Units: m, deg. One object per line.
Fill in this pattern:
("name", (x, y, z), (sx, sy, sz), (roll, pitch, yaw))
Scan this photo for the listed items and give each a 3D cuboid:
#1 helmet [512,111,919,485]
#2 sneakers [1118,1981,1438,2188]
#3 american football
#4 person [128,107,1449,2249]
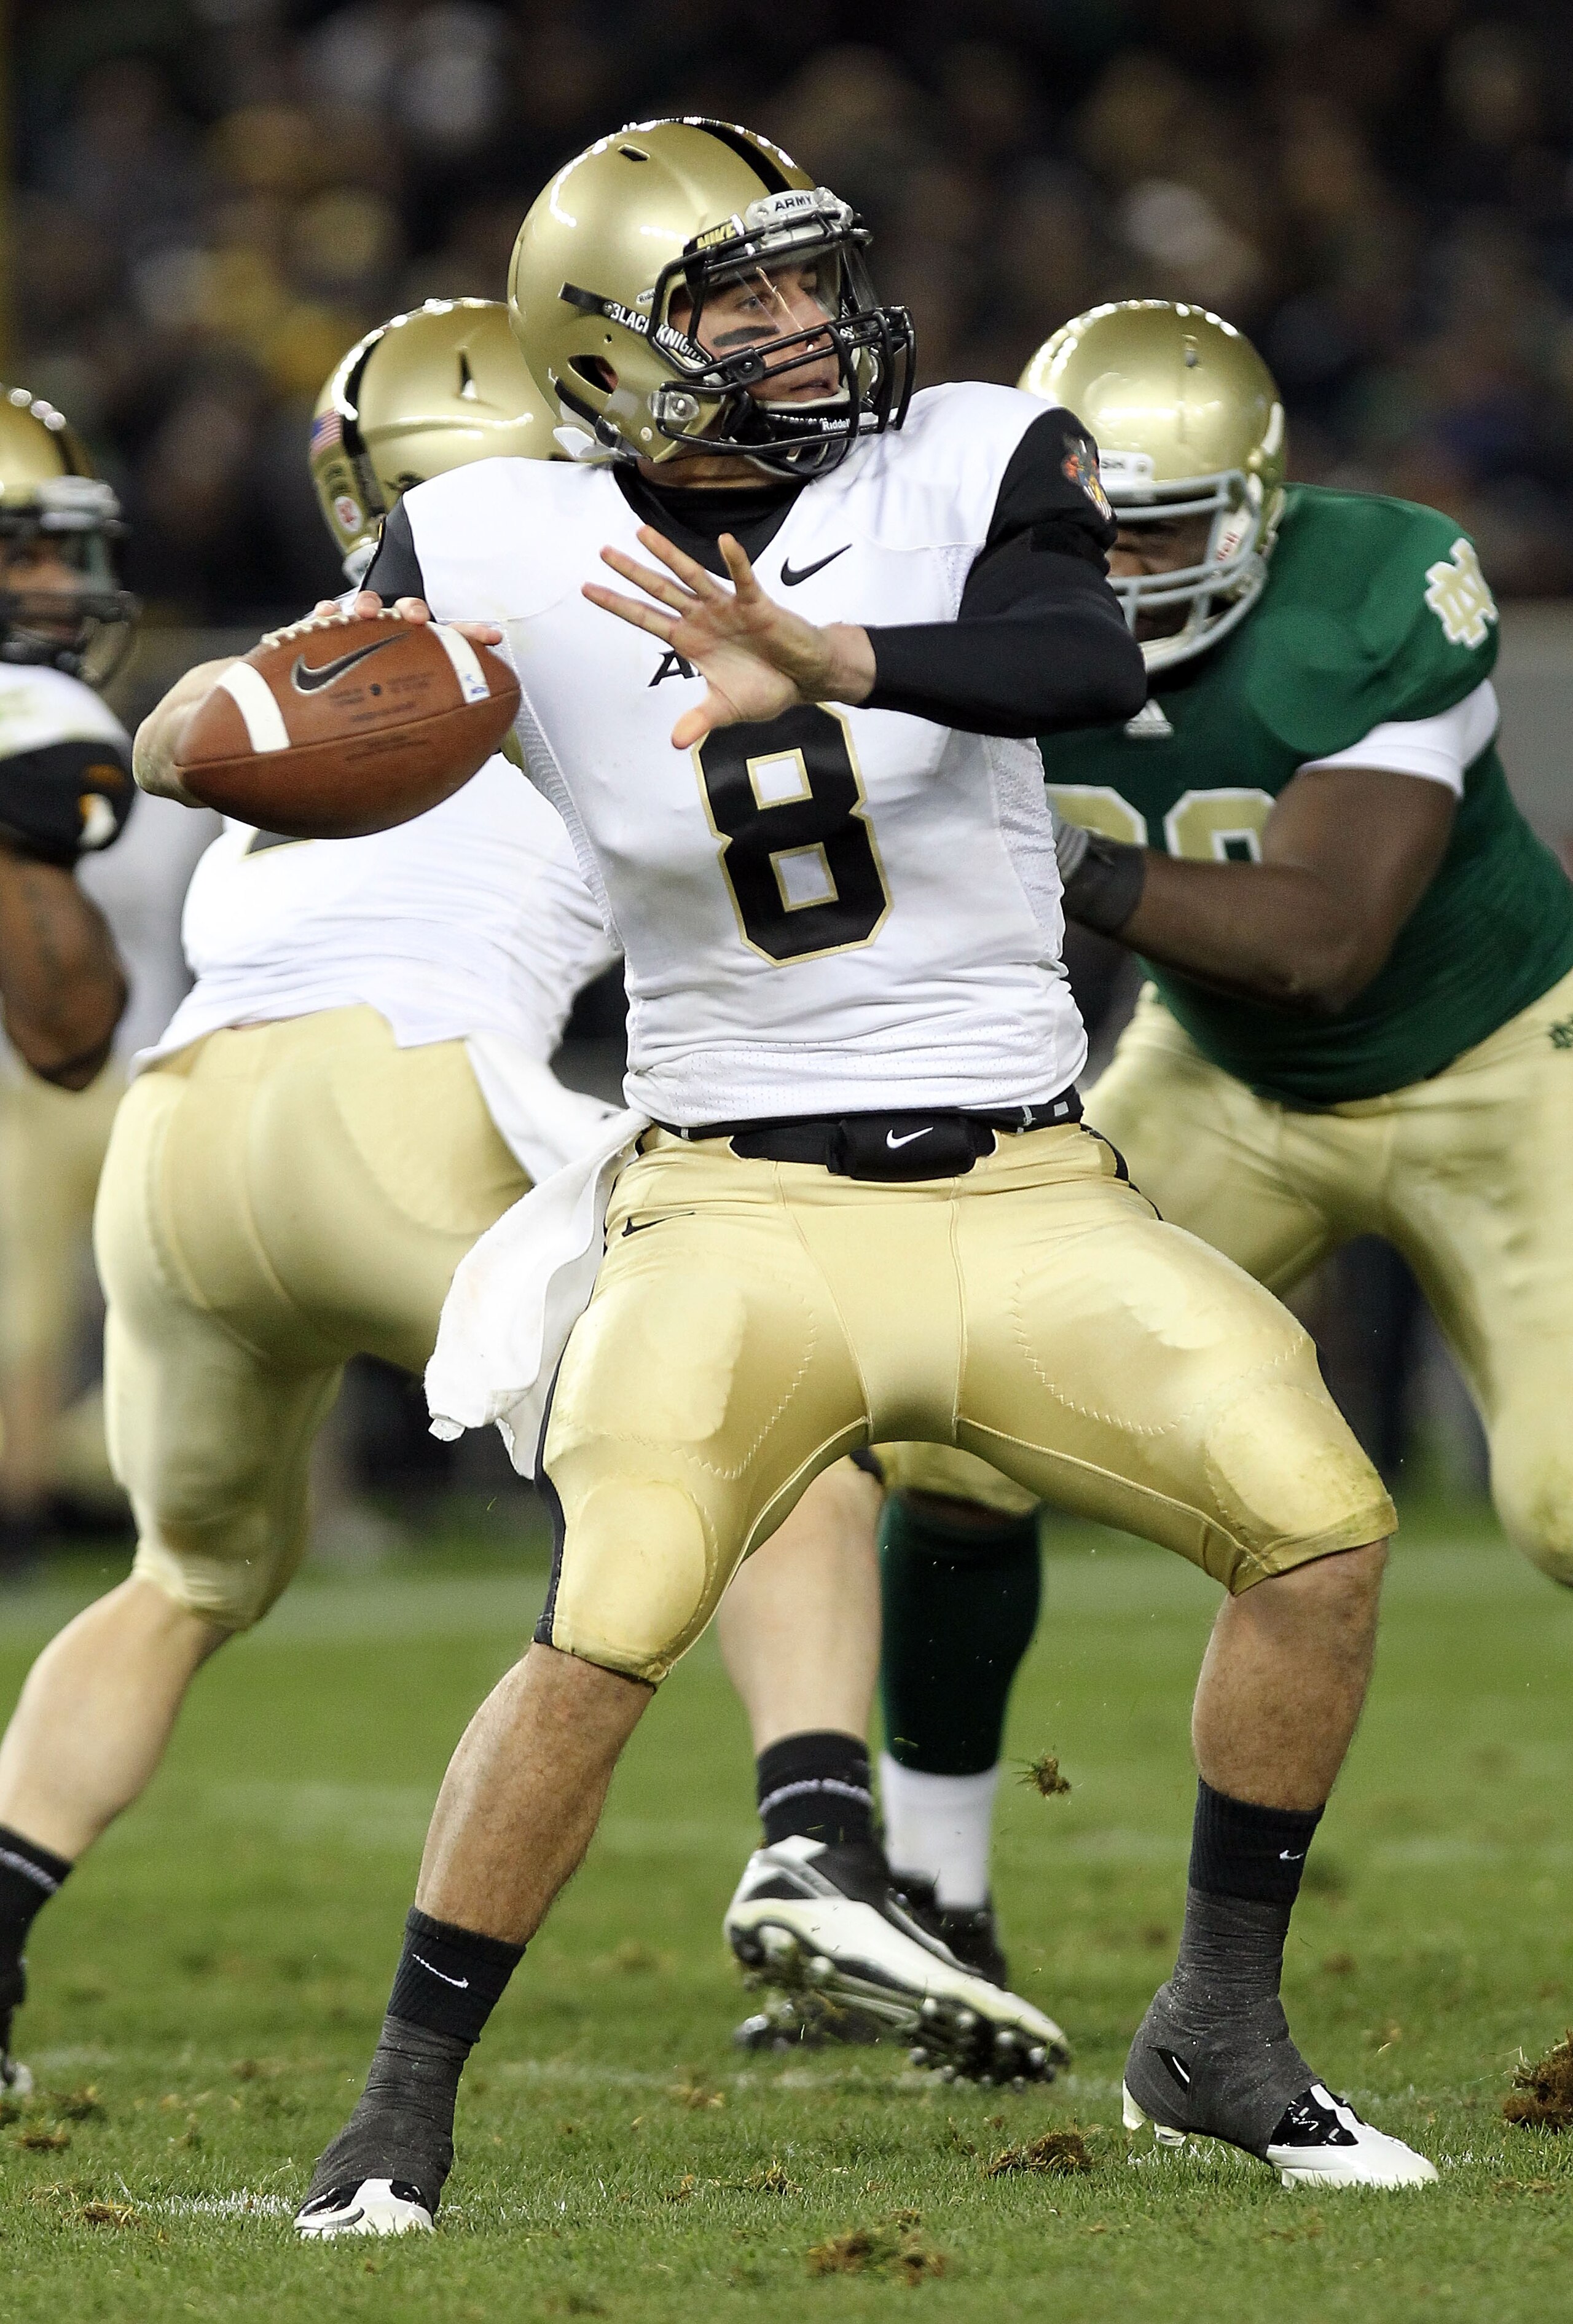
("helmet", (-0.063, -0.645, 1.871), (0.347, 0.241, 0.249), (9, 17, 35))
("sneakers", (0.356, 0.696, 1.854), (0.093, 0.120, 0.285), (1, 2, -40))
("american football", (-0.316, -0.313, 1.755), (0.249, 0.135, 0.155), (-22, 26, -34))
("person", (0.041, 0.010, 1.725), (0.941, 1.471, 0.649), (-1, 4, -17))
